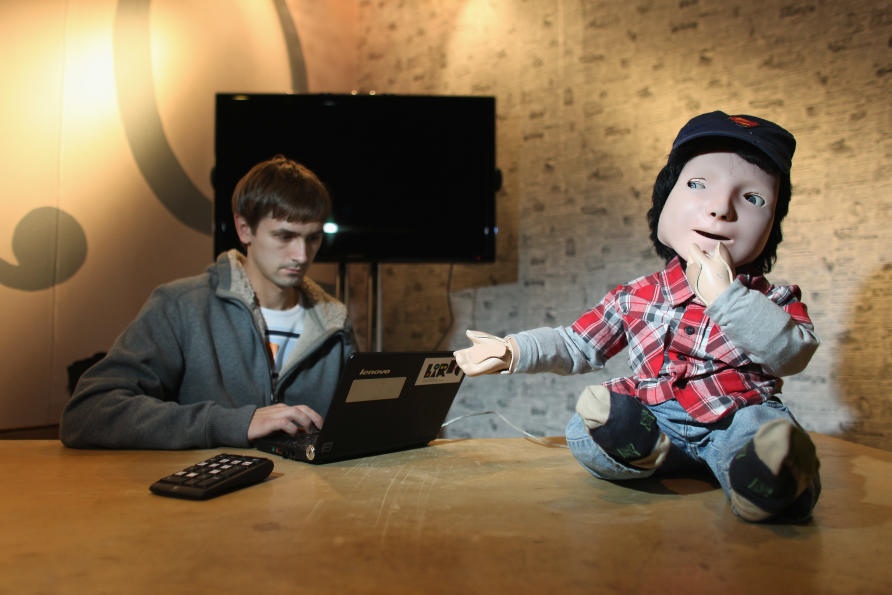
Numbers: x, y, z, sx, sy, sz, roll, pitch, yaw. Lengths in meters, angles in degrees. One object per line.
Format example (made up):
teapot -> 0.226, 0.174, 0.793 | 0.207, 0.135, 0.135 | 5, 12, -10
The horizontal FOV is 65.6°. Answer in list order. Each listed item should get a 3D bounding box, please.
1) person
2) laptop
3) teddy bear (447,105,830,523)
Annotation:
person -> -0.855, 0.025, 2.427 | 0.590, 0.843, 1.016 | 7, -6, 42
laptop -> -0.242, 0.293, 2.005 | 0.437, 0.271, 0.473 | 0, -2, 37
teddy bear -> 0.556, 0.056, 2.205 | 1.008, 1.050, 1.038 | -5, -5, 35
